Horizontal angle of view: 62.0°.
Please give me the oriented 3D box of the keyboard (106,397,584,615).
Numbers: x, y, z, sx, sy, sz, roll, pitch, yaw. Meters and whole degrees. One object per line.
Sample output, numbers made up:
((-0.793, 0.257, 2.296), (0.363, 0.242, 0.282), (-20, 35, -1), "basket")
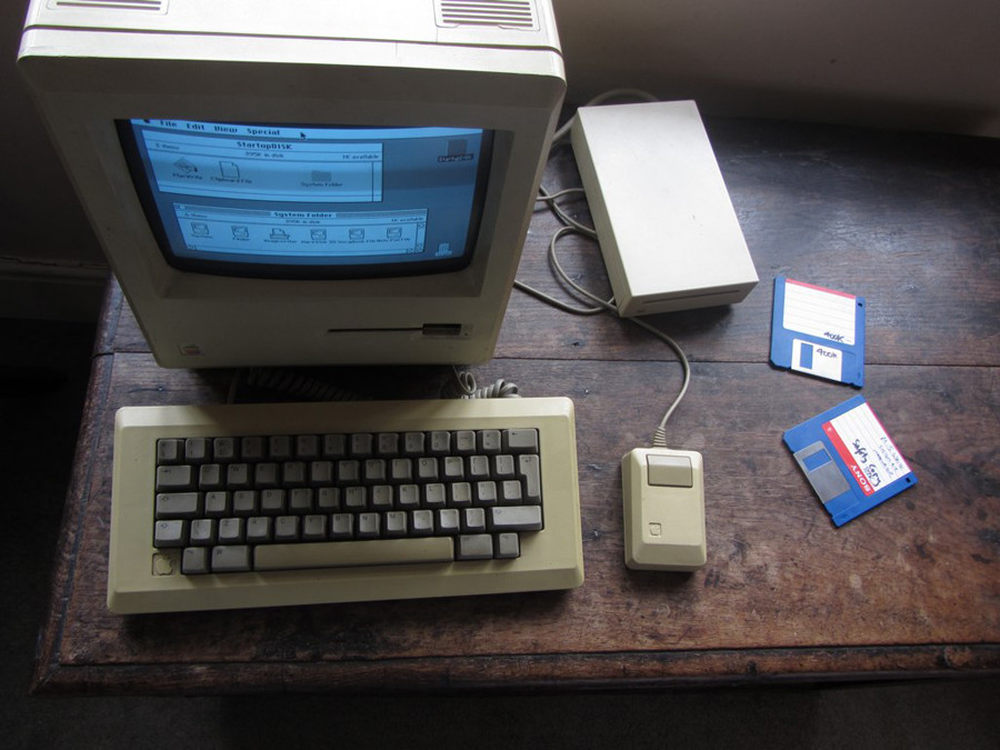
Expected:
((-0.202, 0.153, 1.065), (0.585, 0.103, 0.247), (-1, 87, -6), "keyboard")

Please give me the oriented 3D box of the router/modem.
((0.197, -0.231, 1.293), (0.279, 0.103, 0.441), (-7, 70, -8), "router/modem")

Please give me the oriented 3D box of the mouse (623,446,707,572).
((0.216, 0.174, 1.078), (0.114, 0.051, 0.150), (5, 63, -6), "mouse")
